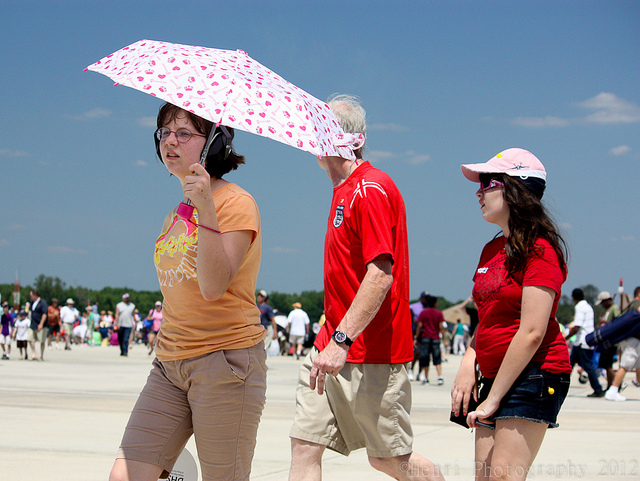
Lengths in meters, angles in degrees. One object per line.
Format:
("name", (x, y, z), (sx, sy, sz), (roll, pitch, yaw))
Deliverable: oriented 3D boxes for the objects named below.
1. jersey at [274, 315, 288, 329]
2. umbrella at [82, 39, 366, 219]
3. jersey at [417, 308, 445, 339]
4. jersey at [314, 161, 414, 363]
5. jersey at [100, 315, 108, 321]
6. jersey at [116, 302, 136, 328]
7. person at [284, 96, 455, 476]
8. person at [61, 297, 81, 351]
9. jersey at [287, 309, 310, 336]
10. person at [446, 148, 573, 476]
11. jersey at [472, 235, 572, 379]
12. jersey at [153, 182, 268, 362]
("jersey", (-1.228, 2.584, 31.107), (0.521, 0.224, 0.826), (11, 5, 4))
("umbrella", (-0.714, -1.049, 7.445), (1.453, 1.072, 1.554), (25, 5, -14))
("jersey", (2.004, 1.514, 18.181), (0.476, 0.696, 0.241), (-1, 24, 1))
("jersey", (0.353, 0.144, 8.445), (0.984, 2.255, 1.773), (0, -3, 1))
("jersey", (-7.358, 2.671, 34.089), (0.130, 0.280, 0.223), (4, 6, 2))
("jersey", (-4.666, 1.812, 23.996), (0.385, 0.605, 0.675), (3, -6, -12))
("person", (0.322, 0.518, 7.678), (1.004, 2.597, 0.604), (1, -5, 5))
("person", (-5.089, 1.718, 20.426), (0.299, 1.055, 0.427), (-10, 19, -43))
("jersey", (-0.617, 2.256, 27.085), (0.511, 0.715, 0.629), (2, -6, -1))
("person", (1.427, 0.535, 7.465), (0.807, 2.431, 0.480), (0, -6, 17))
("jersey", (1.486, 0.487, 7.661), (0.588, 1.235, 0.909), (2, -3, -23))
("jersey", (-0.853, 0.297, 7.611), (0.711, 1.402, 1.206), (3, -6, -31))
